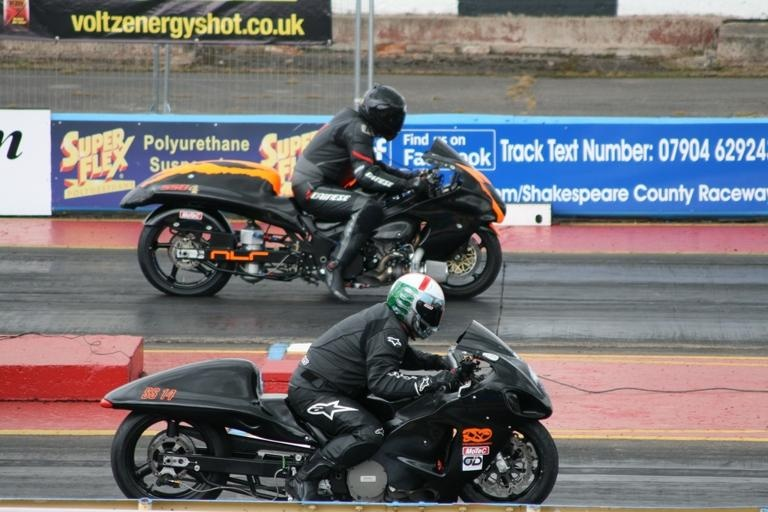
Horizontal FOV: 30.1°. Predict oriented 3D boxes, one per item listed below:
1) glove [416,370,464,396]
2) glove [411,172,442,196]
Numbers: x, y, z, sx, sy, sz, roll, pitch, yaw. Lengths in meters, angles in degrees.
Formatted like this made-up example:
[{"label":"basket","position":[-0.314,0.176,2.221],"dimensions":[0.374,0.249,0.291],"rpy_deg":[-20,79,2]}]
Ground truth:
[{"label":"glove","position":[0.657,1.481,16.658],"dimensions":[0.520,0.288,0.193],"rpy_deg":[2,14,2]},{"label":"glove","position":[0.653,-1.037,20.994],"dimensions":[0.563,0.355,0.292],"rpy_deg":[-10,17,-41]}]
